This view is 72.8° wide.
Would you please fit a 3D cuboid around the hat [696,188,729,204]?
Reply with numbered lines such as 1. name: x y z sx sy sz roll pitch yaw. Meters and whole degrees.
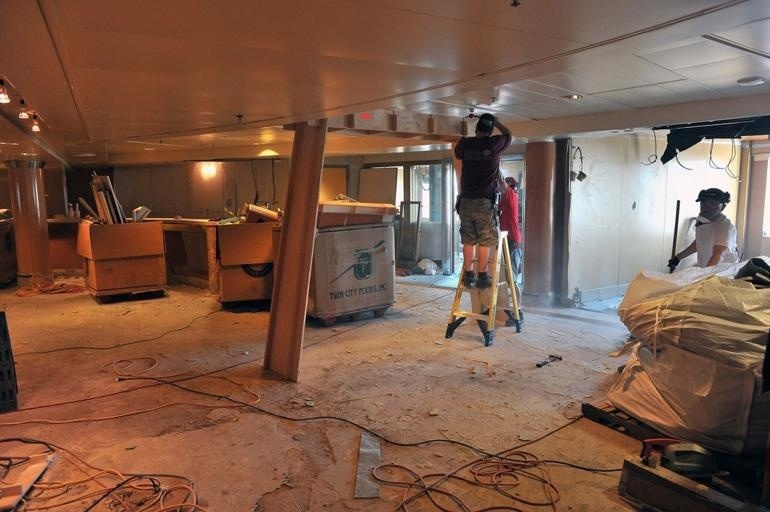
1. hat: 4.678 -0.815 7.289 0.397 0.122 0.294 -1 7 -44

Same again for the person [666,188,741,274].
1. person: 4.627 -0.372 7.172 0.498 1.097 0.818 2 9 24

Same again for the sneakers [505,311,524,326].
1. sneakers: 1.856 0.887 7.601 0.288 0.215 0.190 -3 2 -35

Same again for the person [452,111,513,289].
1. person: 1.246 -0.673 6.694 0.762 2.190 0.361 1 10 22

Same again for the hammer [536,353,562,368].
1. hammer: 1.951 1.243 6.214 0.274 0.044 0.150 -11 14 -39

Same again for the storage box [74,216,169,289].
1. storage box: -4.818 0.040 9.502 1.409 0.977 1.271 -4 7 -37
